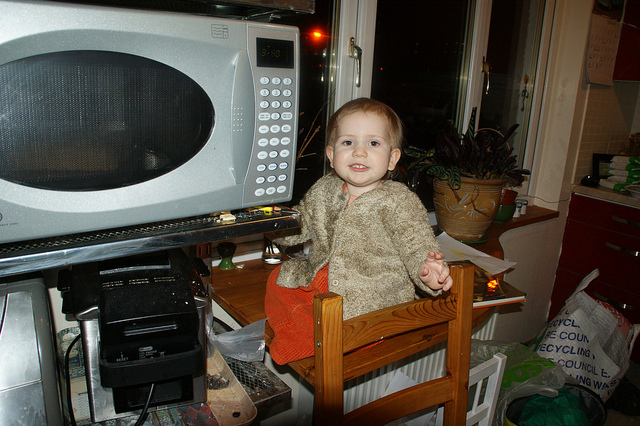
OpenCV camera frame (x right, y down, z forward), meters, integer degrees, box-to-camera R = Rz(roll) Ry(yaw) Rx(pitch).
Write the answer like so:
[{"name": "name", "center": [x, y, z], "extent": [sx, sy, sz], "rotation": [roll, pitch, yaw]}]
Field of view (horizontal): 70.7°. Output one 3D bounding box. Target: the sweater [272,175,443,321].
[{"name": "sweater", "center": [0.099, 0.071, 1.229], "extent": [0.558, 0.321, 0.267], "rotation": [13, 22, 32]}]

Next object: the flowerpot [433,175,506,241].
[{"name": "flowerpot", "center": [0.659, -0.015, 1.983], "extent": [0.262, 0.265, 0.274], "rotation": [0, 2, -22]}]

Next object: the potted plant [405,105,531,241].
[{"name": "potted plant", "center": [0.670, -0.148, 2.004], "extent": [0.431, 0.584, 0.551], "rotation": [5, 4, 32]}]
